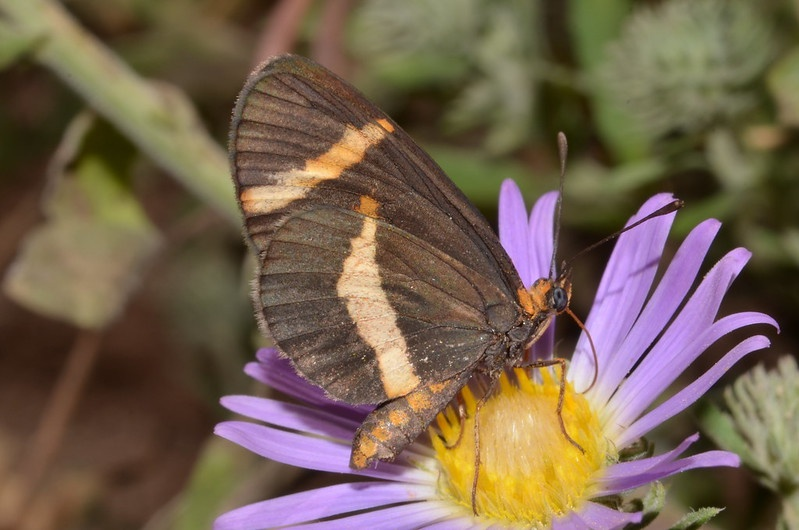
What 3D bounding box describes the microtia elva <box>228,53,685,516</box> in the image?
[{"bbox_3d":[0.181,-0.075,3.478,1.281,1.991,1.486,12,23,20],"label":"microtia elva"}]
